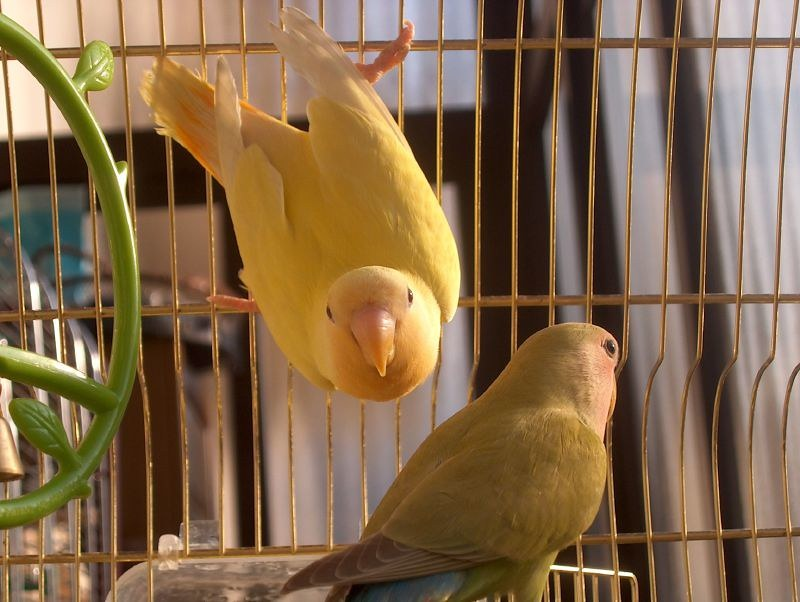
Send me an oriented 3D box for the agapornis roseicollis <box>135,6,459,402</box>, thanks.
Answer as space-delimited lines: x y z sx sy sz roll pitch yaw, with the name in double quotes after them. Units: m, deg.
-0.207 -0.229 3.205 0.487 0.845 0.472 -19 3 -8 "agapornis roseicollis"
